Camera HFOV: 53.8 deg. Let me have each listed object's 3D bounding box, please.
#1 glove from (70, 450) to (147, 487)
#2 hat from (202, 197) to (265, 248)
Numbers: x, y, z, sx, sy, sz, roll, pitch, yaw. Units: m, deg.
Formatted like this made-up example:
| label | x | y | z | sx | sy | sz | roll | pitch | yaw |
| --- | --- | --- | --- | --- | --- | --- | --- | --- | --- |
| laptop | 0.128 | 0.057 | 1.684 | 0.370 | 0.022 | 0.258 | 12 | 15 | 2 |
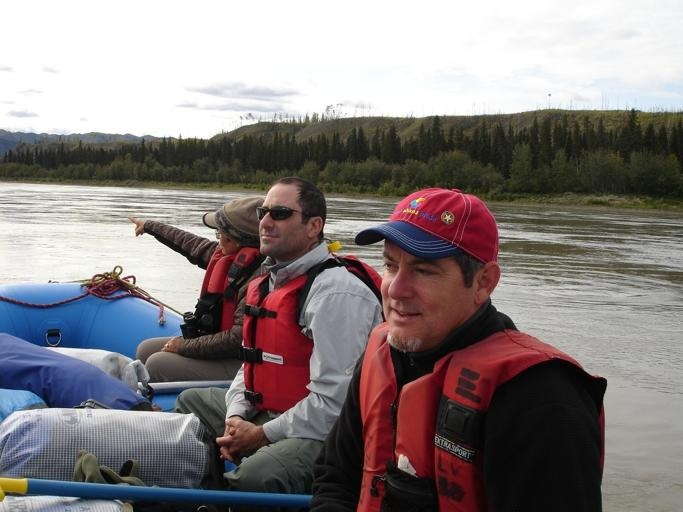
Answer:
| label | x | y | z | sx | sy | sz | roll | pitch | yaw |
| --- | --- | --- | --- | --- | --- | --- | --- | --- | --- |
| glove | -1.048 | 1.037 | 3.184 | 0.285 | 0.167 | 0.377 | 29 | -29 | -36 |
| hat | -0.806 | -0.292 | 5.097 | 0.442 | 0.266 | 0.338 | 18 | 19 | -2 |
